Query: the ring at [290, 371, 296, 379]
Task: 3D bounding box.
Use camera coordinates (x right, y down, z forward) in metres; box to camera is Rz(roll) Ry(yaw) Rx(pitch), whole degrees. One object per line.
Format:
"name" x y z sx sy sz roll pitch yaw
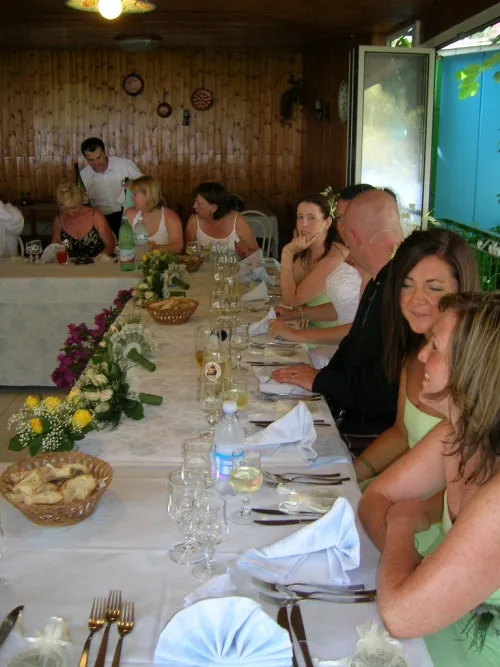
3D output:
"ring" 0.159 0.152 1.995 0.019 0.020 0.019 -1 9 0

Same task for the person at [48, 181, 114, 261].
"person" -1.580 -0.975 4.952 0.583 0.793 0.414 -8 42 -9

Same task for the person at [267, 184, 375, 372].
"person" 0.327 -0.236 3.184 0.643 1.082 0.502 -14 13 -11

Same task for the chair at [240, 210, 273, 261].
"chair" 0.111 -1.158 6.293 0.456 0.640 0.374 -2 16 5

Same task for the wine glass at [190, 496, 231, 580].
"wine glass" -0.074 0.365 0.996 0.054 0.147 0.112 7 13 -3

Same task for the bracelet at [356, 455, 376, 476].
"bracelet" 0.392 0.441 1.799 0.055 0.039 0.052 -2 42 -20

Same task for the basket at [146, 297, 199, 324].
"basket" -0.414 -0.117 2.845 0.262 0.139 0.223 5 13 -9

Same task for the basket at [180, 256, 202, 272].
"basket" -0.443 -0.533 4.092 0.136 0.064 0.130 3 14 9

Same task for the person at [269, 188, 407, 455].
"person" 0.567 0.034 2.240 0.637 1.079 0.432 6 22 42

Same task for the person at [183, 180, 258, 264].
"person" -0.274 -0.994 4.983 0.753 0.817 0.454 5 38 11
